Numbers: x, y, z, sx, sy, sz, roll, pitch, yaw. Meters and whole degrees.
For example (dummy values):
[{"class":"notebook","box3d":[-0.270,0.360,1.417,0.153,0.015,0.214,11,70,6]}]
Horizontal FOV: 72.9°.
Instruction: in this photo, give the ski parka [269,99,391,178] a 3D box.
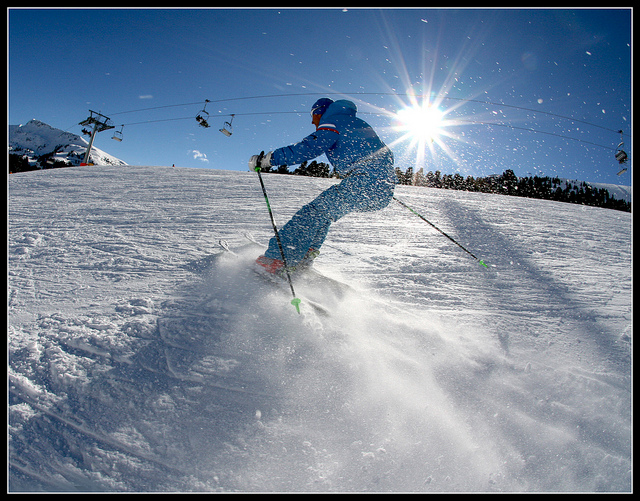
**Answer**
[{"class":"ski parka","box3d":[0.137,-1.123,4.303,1.176,0.760,0.259,0,7,-12]}]

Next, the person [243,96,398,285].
[{"class":"person","box3d":[-0.011,-0.658,4.565,1.539,1.886,1.193,4,-4,16]}]
